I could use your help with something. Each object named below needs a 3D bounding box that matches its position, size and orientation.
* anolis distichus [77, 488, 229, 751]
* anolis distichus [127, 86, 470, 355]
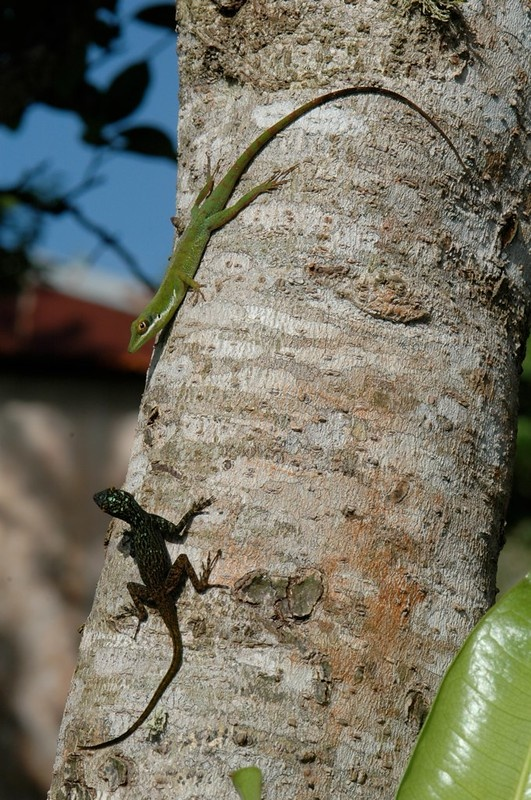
[{"bbox_3d":[-0.231,0.457,2.524,0.333,0.085,0.514,-24,46,31],"label":"anolis distichus"},{"bbox_3d":[-0.030,-0.480,2.945,0.561,0.106,1.022,11,58,37],"label":"anolis distichus"}]
